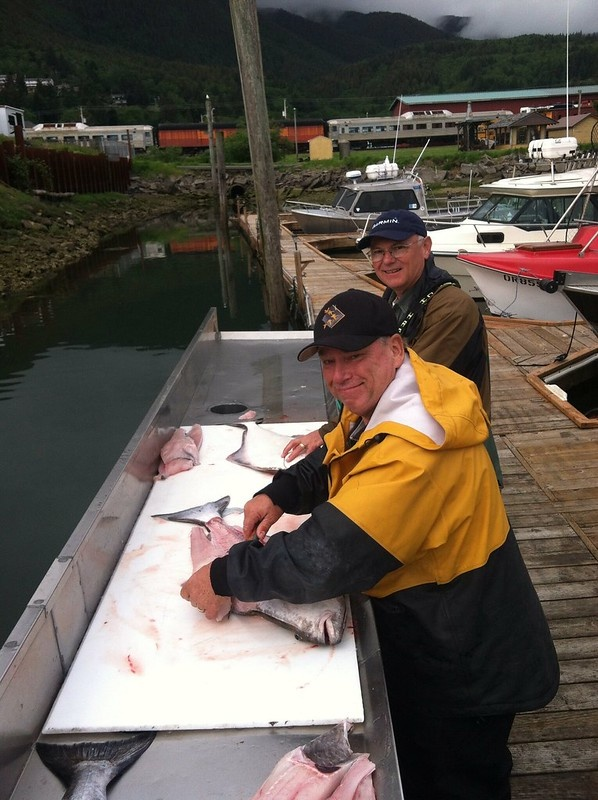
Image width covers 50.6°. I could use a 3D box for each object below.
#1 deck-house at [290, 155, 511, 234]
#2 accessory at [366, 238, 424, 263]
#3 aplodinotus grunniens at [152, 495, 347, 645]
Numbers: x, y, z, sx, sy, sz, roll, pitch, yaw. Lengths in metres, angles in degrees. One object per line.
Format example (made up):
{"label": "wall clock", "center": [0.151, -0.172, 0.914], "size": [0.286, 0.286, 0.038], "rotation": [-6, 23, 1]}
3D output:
{"label": "deck-house", "center": [2.758, -6.423, 19.841], "size": [6.227, 2.139, 2.474], "rotation": [-5, 28, 0]}
{"label": "accessory", "center": [0.513, -0.763, 3.177], "size": [0.134, 0.052, 0.178], "rotation": [-4, 12, 38]}
{"label": "aplodinotus grunniens", "center": [-0.001, 0.559, 2.290], "size": [0.910, 0.335, 0.532], "rotation": [8, 22, 28]}
